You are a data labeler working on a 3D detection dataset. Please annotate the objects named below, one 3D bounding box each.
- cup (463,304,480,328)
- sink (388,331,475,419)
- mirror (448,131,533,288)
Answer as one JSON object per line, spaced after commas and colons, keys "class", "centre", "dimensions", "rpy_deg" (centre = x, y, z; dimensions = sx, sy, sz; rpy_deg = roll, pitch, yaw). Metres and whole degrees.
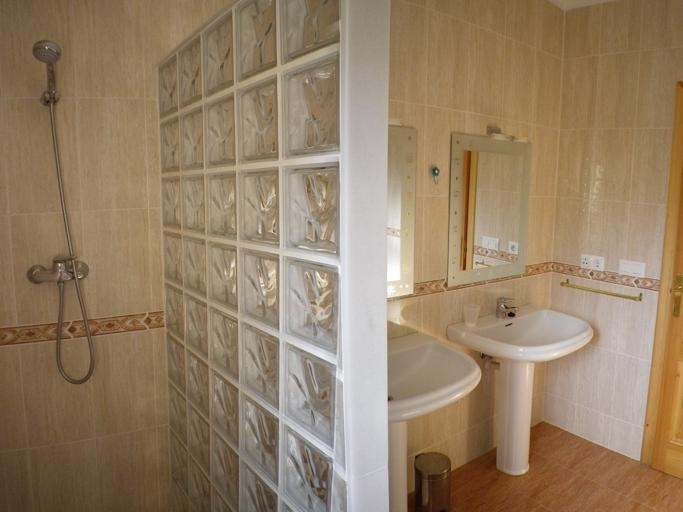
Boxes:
{"class": "cup", "centre": [0.835, 0.391, 3.304], "dimensions": [0.117, 0.140, 0.119], "rpy_deg": [0, 2, 0]}
{"class": "sink", "centre": [0.423, 0.651, 2.752], "dimensions": [0.563, 0.236, 0.510], "rpy_deg": [-3, 10, -18]}
{"class": "mirror", "centre": [0.963, -0.327, 3.360], "dimensions": [0.894, 1.135, 0.045], "rpy_deg": [-7, 11, -40]}
